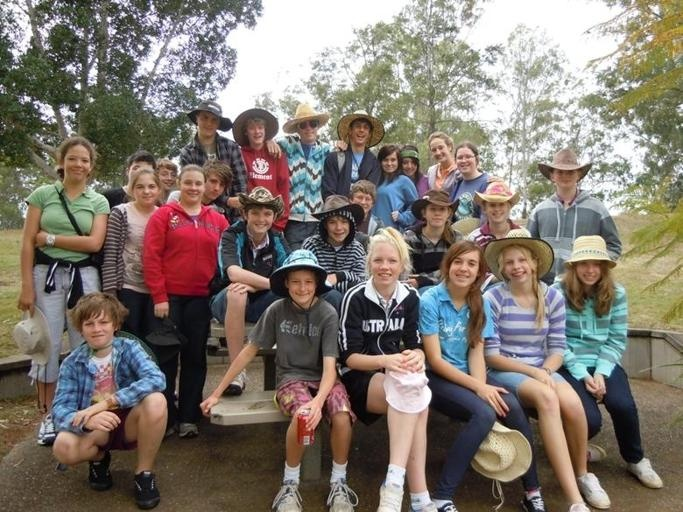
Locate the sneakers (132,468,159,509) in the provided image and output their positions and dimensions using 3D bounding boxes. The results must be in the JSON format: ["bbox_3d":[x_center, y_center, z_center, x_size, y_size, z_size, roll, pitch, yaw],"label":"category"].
[{"bbox_3d":[-1.484,1.783,4.286,0.131,0.140,0.319,-1,12,-24],"label":"sneakers"}]

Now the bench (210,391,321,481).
[{"bbox_3d":[-0.653,1.427,4.843,0.760,0.481,0.738,0,6,-7],"label":"bench"}]

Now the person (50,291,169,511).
[{"bbox_3d":[-1.785,1.101,4.332,0.834,1.543,0.667,-1,12,-9],"label":"person"}]

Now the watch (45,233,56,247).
[{"bbox_3d":[-2.678,-0.146,5.174,0.072,0.117,0.112,3,13,-17],"label":"watch"}]

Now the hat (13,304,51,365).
[{"bbox_3d":[-2.800,0.748,5.061,0.375,0.540,0.224,8,14,29],"label":"hat"}]
